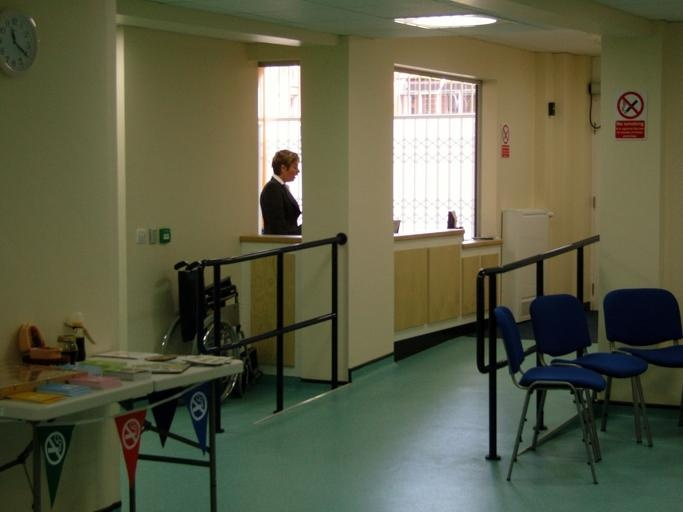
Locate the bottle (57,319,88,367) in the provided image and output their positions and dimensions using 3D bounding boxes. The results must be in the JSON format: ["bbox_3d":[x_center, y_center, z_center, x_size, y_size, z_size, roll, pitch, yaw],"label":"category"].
[{"bbox_3d":[-1.306,0.418,2.830,0.106,0.220,0.204,-1,-4,13],"label":"bottle"}]

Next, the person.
[{"bbox_3d":[-0.585,-0.598,5.994,0.521,1.014,0.530,5,13,8],"label":"person"}]

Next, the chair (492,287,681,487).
[{"bbox_3d":[1.591,0.823,3.934,0.741,1.040,1.354,3,6,43],"label":"chair"}]
